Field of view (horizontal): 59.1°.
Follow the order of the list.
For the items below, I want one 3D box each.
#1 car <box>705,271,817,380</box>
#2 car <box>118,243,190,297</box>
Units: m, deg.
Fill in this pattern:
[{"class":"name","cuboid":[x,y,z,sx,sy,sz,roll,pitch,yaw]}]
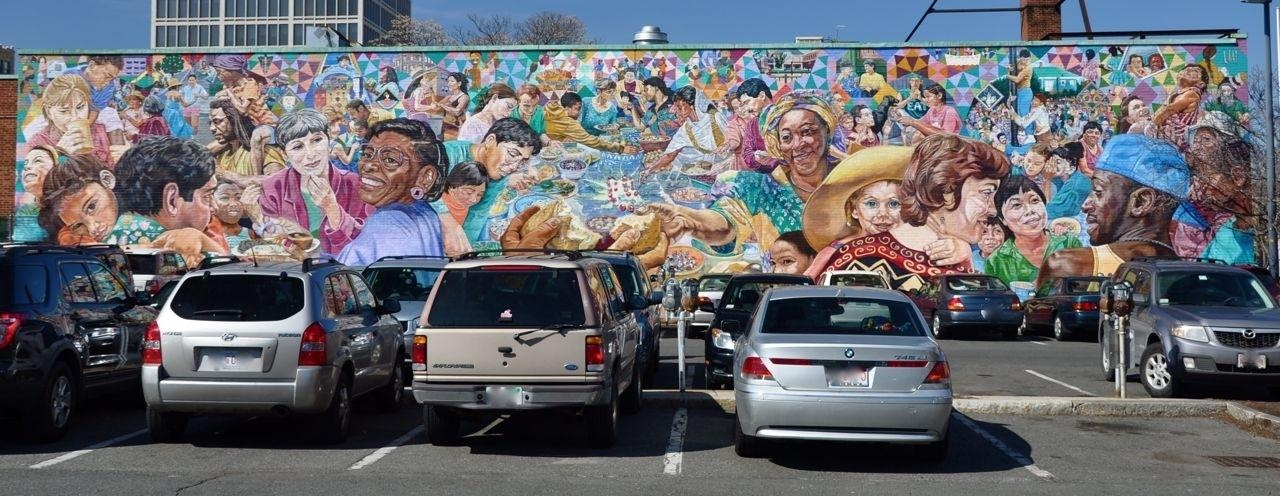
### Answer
[{"class":"car","cuboid":[4.468,2.930,49.300,3.683,2.182,6.180,1,3,1]},{"class":"car","cuboid":[-24.757,1.232,57.164,3.192,1.904,4.805,1,4,9]}]
